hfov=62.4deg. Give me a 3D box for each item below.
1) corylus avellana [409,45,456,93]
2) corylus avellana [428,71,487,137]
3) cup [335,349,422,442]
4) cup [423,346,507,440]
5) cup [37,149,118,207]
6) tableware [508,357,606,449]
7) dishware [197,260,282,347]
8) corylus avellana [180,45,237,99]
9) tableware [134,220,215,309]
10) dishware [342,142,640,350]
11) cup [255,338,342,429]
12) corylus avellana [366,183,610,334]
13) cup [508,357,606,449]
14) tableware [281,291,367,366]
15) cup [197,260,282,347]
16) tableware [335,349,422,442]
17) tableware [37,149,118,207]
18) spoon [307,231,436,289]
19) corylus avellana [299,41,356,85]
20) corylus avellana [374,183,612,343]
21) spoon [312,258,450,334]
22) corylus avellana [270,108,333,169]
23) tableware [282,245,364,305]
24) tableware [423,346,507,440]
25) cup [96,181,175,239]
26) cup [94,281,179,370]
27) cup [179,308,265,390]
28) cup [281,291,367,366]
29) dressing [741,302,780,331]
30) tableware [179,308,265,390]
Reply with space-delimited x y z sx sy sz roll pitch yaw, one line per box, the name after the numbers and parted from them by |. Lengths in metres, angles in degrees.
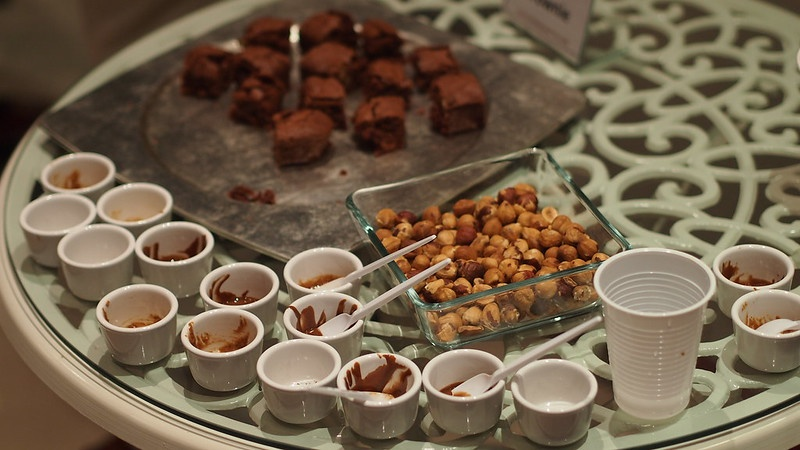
0.095 -0.431 1.822 0.128 0.112 0.044 9 2 8 | corylus avellana
0.148 -0.364 1.894 0.168 0.139 0.151 -12 44 -12 | corylus avellana
-0.019 0.347 1.424 0.185 0.107 0.186 -1 35 0 | cup
0.136 0.376 1.454 0.195 0.110 0.178 -4 40 4 | cup
-0.852 -0.131 1.797 0.168 0.113 0.158 3 43 -3 | cup
0.319 0.362 1.374 0.195 0.114 0.184 6 35 20 | tableware
-0.351 0.158 1.551 0.195 0.131 0.179 5 37 6 | dishware
-0.528 -0.413 1.829 0.134 0.141 0.056 -4 -6 -8 | corylus avellana
-0.528 0.104 1.697 0.204 0.121 0.195 -31 54 -33 | tableware
0.210 0.074 1.610 0.601 0.165 0.546 -16 46 -14 | dishware
-0.193 0.356 1.471 0.193 0.110 0.183 2 45 -2 | cup
0.199 0.080 1.623 0.436 0.116 0.351 -12 43 -13 | corylus avellana
0.320 0.365 1.376 0.195 0.114 0.184 -5 33 3 | cup
-0.149 0.208 1.497 0.178 0.117 0.169 -21 43 -25 | tableware
-0.356 0.176 1.567 0.195 0.131 0.179 1 36 0 | cup
-0.019 0.353 1.426 0.185 0.107 0.186 27 44 33 | tableware
-0.846 -0.142 1.786 0.168 0.113 0.158 -24 50 -28 | tableware
-0.060 0.090 1.596 0.258 0.036 0.037 -23 28 -3 | spoon
-0.231 -0.553 2.210 0.163 0.105 0.153 13 44 19 | corylus avellana
0.216 0.112 1.646 0.443 0.119 0.373 -13 41 -10 | corylus avellana
-0.043 0.167 1.534 0.289 0.037 0.048 -27 31 -6 | spoon
-0.288 -0.249 2.006 0.186 0.113 0.167 -7 42 -6 | corylus avellana
-0.178 0.089 1.562 0.158 0.107 0.148 12 38 17 | tableware
0.135 0.363 1.440 0.195 0.110 0.178 -16 41 -11 | tableware
-0.683 -0.028 1.775 0.170 0.116 0.160 4 46 -4 | cup
-0.566 0.229 1.555 0.202 0.120 0.191 3 41 -2 | cup
-0.375 0.298 1.497 0.201 0.111 0.182 7 38 -2 | cup
-0.154 0.253 1.526 0.178 0.117 0.169 0 38 0 | cup
0.809 0.200 1.493 0.073 0.026 0.059 -16 37 -18 | dressing
-0.395 0.274 1.462 0.201 0.111 0.182 7 38 -2 | tableware
